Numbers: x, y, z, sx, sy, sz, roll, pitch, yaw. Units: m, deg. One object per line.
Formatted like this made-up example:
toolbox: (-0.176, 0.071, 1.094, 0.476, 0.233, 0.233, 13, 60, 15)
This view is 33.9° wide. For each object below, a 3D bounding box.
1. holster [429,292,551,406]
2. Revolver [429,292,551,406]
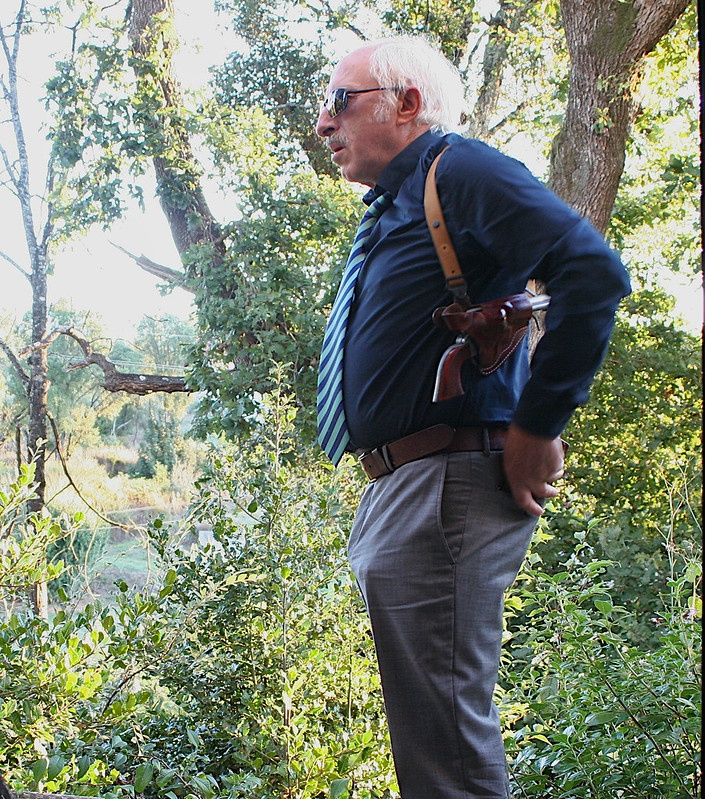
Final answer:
holster: (0.357, -0.145, 3.029, 0.326, 0.271, 0.120, -5, -19, -3)
Revolver: (0.427, -0.177, 3.149, 0.099, 0.238, 0.635, 18, 27, 40)
